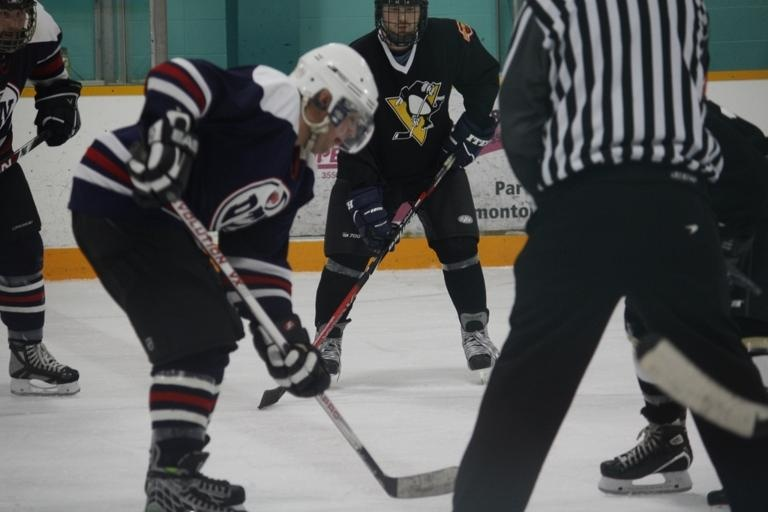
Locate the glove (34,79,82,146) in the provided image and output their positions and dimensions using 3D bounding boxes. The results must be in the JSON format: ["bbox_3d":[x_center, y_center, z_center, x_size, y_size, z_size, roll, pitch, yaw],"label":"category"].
[{"bbox_3d":[-1.388,-0.620,4.005,0.184,0.294,0.117,1,-4,1],"label":"glove"}]

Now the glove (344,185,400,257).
[{"bbox_3d":[-0.048,-0.155,4.075,0.182,0.303,0.122,-23,-7,11],"label":"glove"}]

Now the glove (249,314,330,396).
[{"bbox_3d":[-0.261,0.309,2.731,0.160,0.284,0.120,-29,-11,-9],"label":"glove"}]

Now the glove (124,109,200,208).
[{"bbox_3d":[-0.584,-0.285,2.625,0.116,0.191,0.259,23,32,-15],"label":"glove"}]

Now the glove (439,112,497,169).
[{"bbox_3d":[0.328,-0.497,4.129,0.158,0.249,0.183,18,26,-35],"label":"glove"}]

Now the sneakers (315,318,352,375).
[{"bbox_3d":[-0.220,0.388,3.968,0.116,0.251,0.241,-3,-19,-7],"label":"sneakers"}]

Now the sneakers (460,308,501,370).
[{"bbox_3d":[0.400,0.362,3.961,0.107,0.127,0.306,-12,36,8],"label":"sneakers"}]
